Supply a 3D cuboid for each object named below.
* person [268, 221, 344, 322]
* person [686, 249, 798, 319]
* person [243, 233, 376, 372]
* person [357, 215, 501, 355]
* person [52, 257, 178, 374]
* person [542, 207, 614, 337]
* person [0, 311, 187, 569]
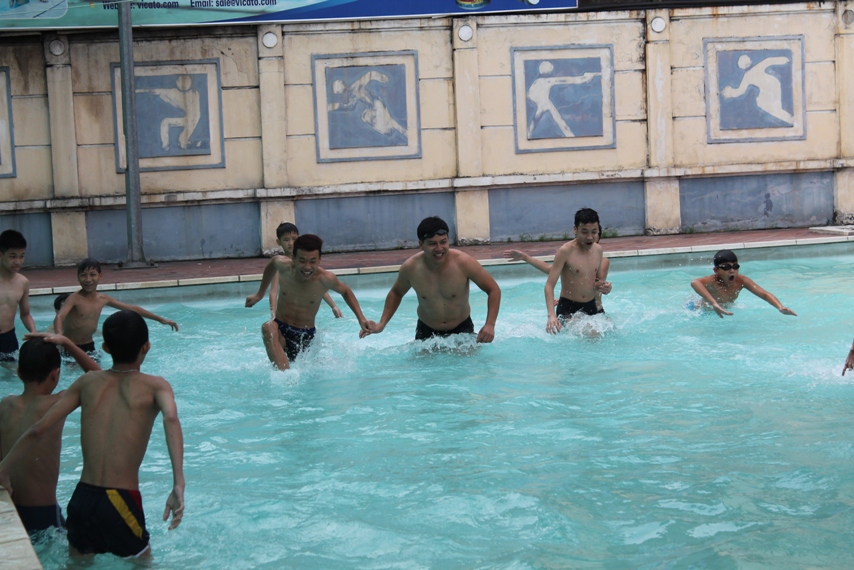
[{"bbox_3d":[-1.404,-0.124,11.349,0.868,1.036,0.873,5,4,-5],"label":"person"},{"bbox_3d":[3.488,0.007,11.563,0.788,0.836,1.238,-2,8,4],"label":"person"},{"bbox_3d":[-1.337,0.158,10.397,1.428,1.395,0.822,5,12,44],"label":"person"},{"bbox_3d":[0.055,0.369,10.711,1.446,2.113,0.945,1,24,13],"label":"person"},{"bbox_3d":[-3.349,0.348,10.706,1.178,1.196,0.800,-2,22,-28],"label":"person"},{"bbox_3d":[1.674,-0.177,11.149,0.684,1.338,1.133,-2,8,9],"label":"person"},{"bbox_3d":[-2.328,1.174,7.164,1.195,1.909,0.531,-3,9,1],"label":"person"}]
